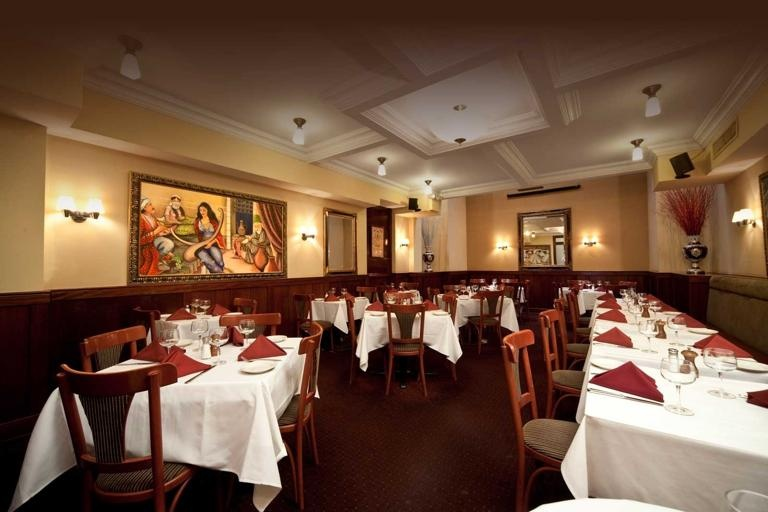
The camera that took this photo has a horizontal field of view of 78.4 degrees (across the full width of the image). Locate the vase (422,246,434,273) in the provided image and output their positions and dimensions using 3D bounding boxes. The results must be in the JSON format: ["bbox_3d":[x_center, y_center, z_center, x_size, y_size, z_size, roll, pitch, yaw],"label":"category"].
[{"bbox_3d":[1.229,0.072,12.697,0.329,0.638,0.436,-1,-1,5],"label":"vase"}]

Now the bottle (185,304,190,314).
[{"bbox_3d":[-2.784,0.749,6.691,0.066,0.105,0.065,-1,4,0],"label":"bottle"}]

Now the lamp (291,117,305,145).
[{"bbox_3d":[-1.298,-1.900,7.299,0.186,0.425,0.690,-1,-2,-10],"label":"lamp"}]

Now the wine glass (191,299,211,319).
[{"bbox_3d":[-2.589,0.751,6.664,0.189,0.304,0.189,0,-13,-4],"label":"wine glass"}]

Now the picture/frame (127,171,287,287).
[{"bbox_3d":[-2.872,-0.443,7.444,0.043,1.117,2.043,-4,-5,39],"label":"picture/frame"}]

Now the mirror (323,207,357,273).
[{"bbox_3d":[-0.941,-0.326,9.889,0.112,1.539,1.354,-5,-7,34],"label":"mirror"}]

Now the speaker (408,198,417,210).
[{"bbox_3d":[0.708,-1.220,11.171,0.246,0.270,0.242,3,-5,-16],"label":"speaker"}]

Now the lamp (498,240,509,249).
[{"bbox_3d":[3.341,-0.295,13.077,0.094,0.272,0.360,0,-2,-40],"label":"lamp"}]

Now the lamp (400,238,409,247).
[{"bbox_3d":[0.596,-0.357,12.795,0.085,0.226,0.362,-2,-2,35],"label":"lamp"}]

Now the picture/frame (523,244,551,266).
[{"bbox_3d":[4.097,-0.033,12.414,0.532,0.458,0.076,-5,-11,38],"label":"picture/frame"}]

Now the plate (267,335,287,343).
[{"bbox_3d":[-1.164,0.895,5.176,0.202,0.063,0.266,0,-2,-11],"label":"plate"}]

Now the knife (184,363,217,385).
[{"bbox_3d":[-1.696,1.084,4.483,0.059,0.039,0.453,8,19,25],"label":"knife"}]

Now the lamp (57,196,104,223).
[{"bbox_3d":[-4.055,-0.614,6.303,0.491,0.340,0.176,1,-2,-36],"label":"lamp"}]

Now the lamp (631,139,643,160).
[{"bbox_3d":[4.480,-1.854,8.261,0.191,0.384,0.778,-1,-2,29],"label":"lamp"}]

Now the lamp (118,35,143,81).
[{"bbox_3d":[-3.062,-2.337,5.705,0.244,0.446,0.479,0,-2,-29],"label":"lamp"}]

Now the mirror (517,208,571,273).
[{"bbox_3d":[4.275,-0.409,12.300,1.712,1.992,0.161,1,-2,33],"label":"mirror"}]

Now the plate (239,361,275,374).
[{"bbox_3d":[-1.203,1.060,4.514,0.331,0.092,0.237,-1,-2,-5],"label":"plate"}]

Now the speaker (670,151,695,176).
[{"bbox_3d":[5.194,-1.593,8.106,0.237,0.457,0.327,-7,-17,-43],"label":"speaker"}]

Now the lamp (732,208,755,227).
[{"bbox_3d":[5.812,-0.608,7.617,0.238,0.323,0.519,-1,-2,19],"label":"lamp"}]
